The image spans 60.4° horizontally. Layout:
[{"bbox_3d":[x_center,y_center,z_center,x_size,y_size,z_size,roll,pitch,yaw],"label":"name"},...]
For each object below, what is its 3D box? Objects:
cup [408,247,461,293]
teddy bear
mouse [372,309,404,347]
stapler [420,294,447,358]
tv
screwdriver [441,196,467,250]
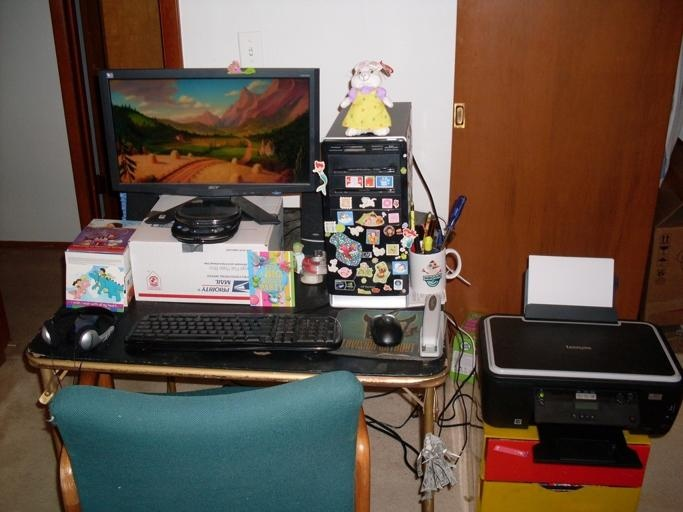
[{"bbox_3d":[0.322,0.038,2.004,0.191,0.155,0.125,-4,11,-6],"label":"cup"},{"bbox_3d":[0.080,-0.507,1.883,0.146,0.221,0.151,0,17,1],"label":"teddy bear"},{"bbox_3d":[0.137,0.214,1.813,0.104,0.050,0.155,-1,29,-1],"label":"mouse"},{"bbox_3d":[0.286,0.217,1.824,0.058,0.079,0.210,1,32,8],"label":"stapler"},{"bbox_3d":[-0.439,-0.414,1.982,0.724,0.422,0.048,0,16,2],"label":"tv"},{"bbox_3d":[0.460,-0.150,2.408,0.063,0.246,0.034,22,-20,4],"label":"screwdriver"}]
